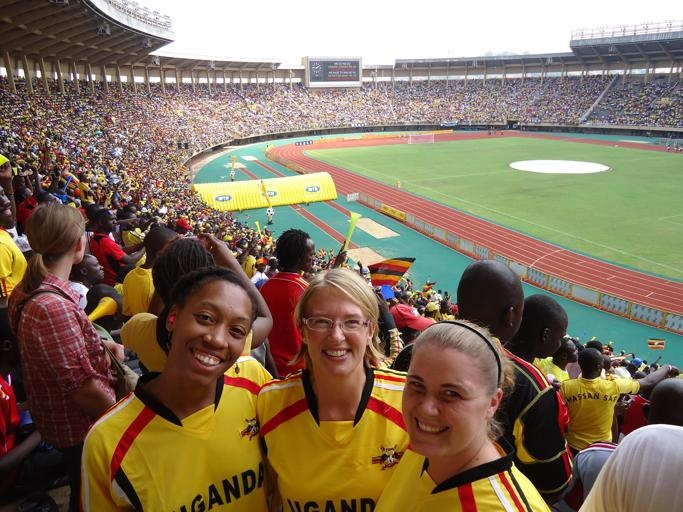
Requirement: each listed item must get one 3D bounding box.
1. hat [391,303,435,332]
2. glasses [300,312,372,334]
[{"bbox_3d":[0.858,0.782,5.960,0.571,0.214,0.335,3,11,0],"label":"hat"},{"bbox_3d":[-0.050,0.423,2.956,0.424,0.097,0.116,5,20,3],"label":"glasses"}]
